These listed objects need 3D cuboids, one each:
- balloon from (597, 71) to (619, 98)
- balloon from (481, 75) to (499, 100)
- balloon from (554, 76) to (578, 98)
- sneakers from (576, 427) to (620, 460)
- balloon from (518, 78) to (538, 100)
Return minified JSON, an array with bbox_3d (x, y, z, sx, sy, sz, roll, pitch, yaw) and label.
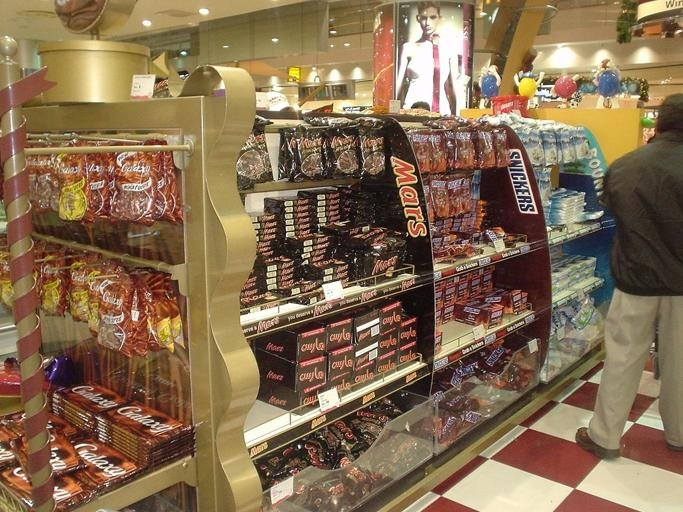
[{"bbox_3d":[2.356,-1.534,4.458,0.211,0.238,0.208,-1,30,34],"label":"balloon"},{"bbox_3d":[1.419,-1.617,4.733,0.163,0.225,0.202,6,15,13],"label":"balloon"},{"bbox_3d":[2.128,-1.587,4.699,0.215,0.244,0.230,3,4,29],"label":"balloon"},{"bbox_3d":[1.615,1.173,3.138,0.115,0.090,0.214,-8,30,-42],"label":"sneakers"},{"bbox_3d":[1.678,-1.512,4.473,0.155,0.196,0.284,7,15,16],"label":"balloon"}]
